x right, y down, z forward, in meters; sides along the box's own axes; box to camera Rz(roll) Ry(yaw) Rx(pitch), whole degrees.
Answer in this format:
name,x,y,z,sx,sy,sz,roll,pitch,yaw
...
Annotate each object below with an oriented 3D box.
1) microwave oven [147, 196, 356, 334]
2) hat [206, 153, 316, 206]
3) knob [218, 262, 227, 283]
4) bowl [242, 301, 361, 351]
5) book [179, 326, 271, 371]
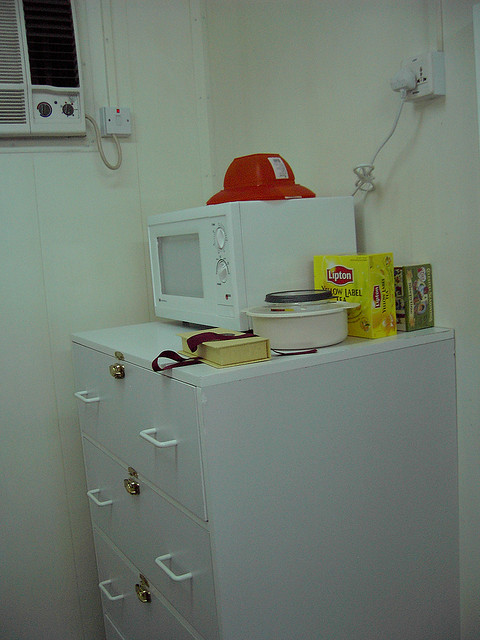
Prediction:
name,x,y,z,sx,sy,sz,roll,pitch,yaw
microwave oven,0.000,-0.120,1.377,0.468,0.331,0.454,-6,11,-28
hat,0.044,-0.319,1.269,0.250,0.096,0.248,7,15,41
knob,-0.035,-0.098,1.150,0.009,0.033,0.026,-5,3,-33
bowl,0.120,0.014,0.998,0.203,0.072,0.083,-6,10,0
book,-0.035,0.044,0.957,0.110,0.044,0.215,-10,10,-26
